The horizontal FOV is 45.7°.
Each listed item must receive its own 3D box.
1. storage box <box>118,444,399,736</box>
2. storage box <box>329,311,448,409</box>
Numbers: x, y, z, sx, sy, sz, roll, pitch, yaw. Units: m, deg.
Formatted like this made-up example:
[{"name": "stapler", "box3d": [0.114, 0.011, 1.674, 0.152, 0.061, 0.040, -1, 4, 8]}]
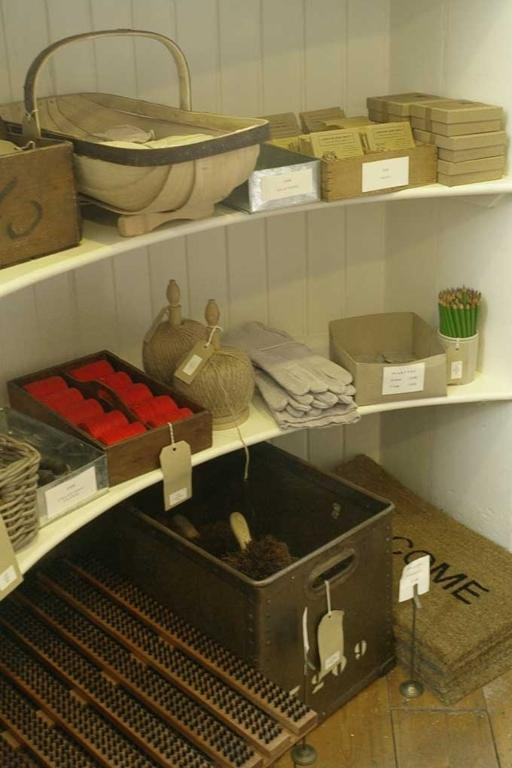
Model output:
[{"name": "storage box", "box3d": [-0.004, 0.548, 1.739, 0.639, 0.588, 0.616, 13, 14, 40]}, {"name": "storage box", "box3d": [0.391, -0.084, 1.817, 0.304, 0.153, 0.332, -2, 28, 0]}]
